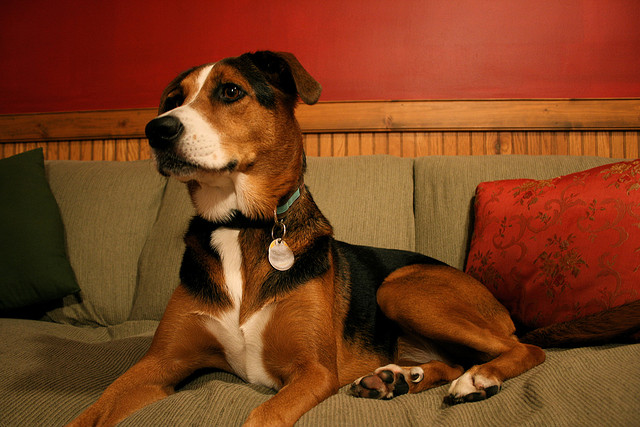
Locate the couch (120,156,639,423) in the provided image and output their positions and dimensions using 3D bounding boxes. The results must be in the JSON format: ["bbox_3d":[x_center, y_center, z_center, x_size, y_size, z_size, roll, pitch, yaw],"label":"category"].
[{"bbox_3d":[0.571,0.320,3.043,2.171,0.980,1.876,4,20,9],"label":"couch"}]
